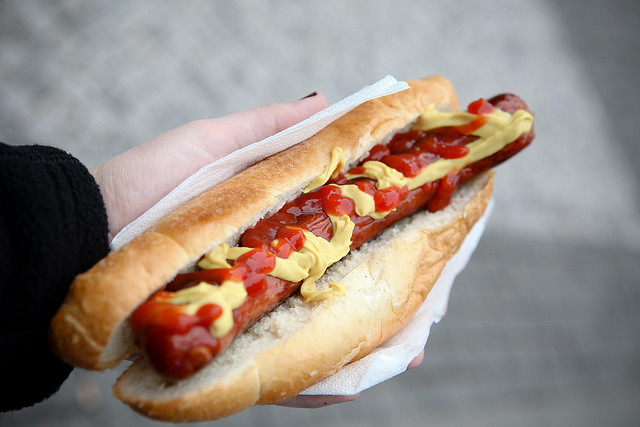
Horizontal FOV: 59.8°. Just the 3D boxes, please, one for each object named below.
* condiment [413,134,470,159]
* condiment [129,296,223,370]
[{"bbox_3d":[1.038,-0.558,4.639,0.355,0.092,0.210,7,72,0],"label":"condiment"},{"bbox_3d":[-0.969,0.800,3.826,0.836,0.390,0.384,-4,107,-22],"label":"condiment"}]
